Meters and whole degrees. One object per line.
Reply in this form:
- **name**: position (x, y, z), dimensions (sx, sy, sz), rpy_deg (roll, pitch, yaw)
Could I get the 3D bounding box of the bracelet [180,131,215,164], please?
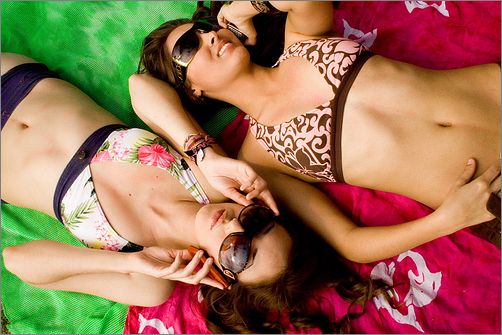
- **bracelet**: position (-0.327, -0.117, 2.750), dimensions (0.136, 0.081, 0.189), rpy_deg (3, 89, -2)
